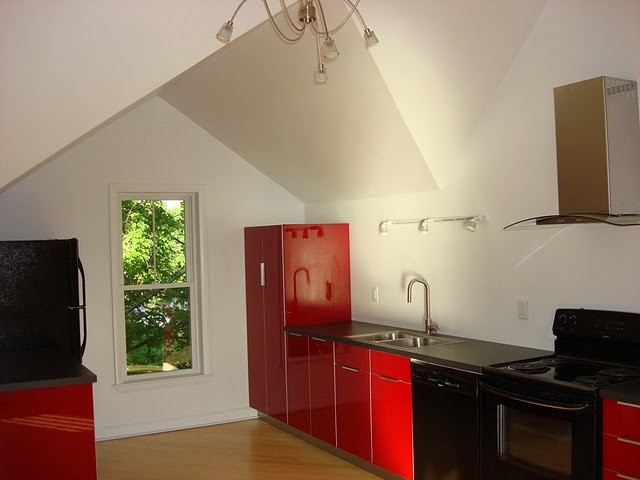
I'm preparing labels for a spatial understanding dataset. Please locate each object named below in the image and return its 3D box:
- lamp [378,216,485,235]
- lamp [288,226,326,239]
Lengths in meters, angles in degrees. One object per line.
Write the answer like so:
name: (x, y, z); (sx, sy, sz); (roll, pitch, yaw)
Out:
lamp: (0.848, -0.122, 4.463); (0.340, 0.136, 1.147); (-5, 3, -29)
lamp: (-0.146, -0.078, 5.272); (0.426, 0.133, 0.072); (-5, 4, -36)
